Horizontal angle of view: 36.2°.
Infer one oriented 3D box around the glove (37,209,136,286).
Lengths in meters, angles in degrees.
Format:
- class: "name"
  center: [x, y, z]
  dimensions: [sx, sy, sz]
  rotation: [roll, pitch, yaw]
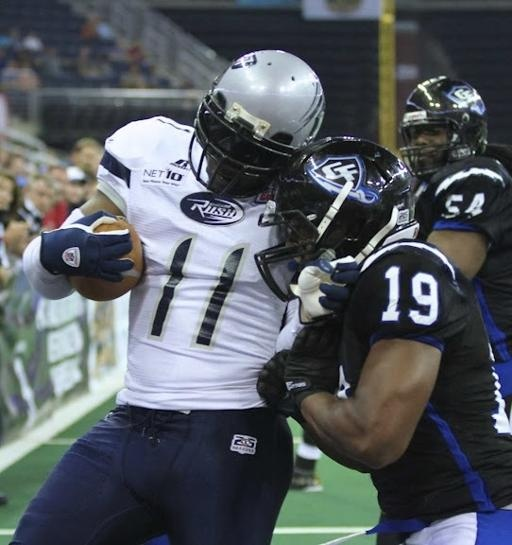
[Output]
- class: "glove"
  center: [-0.520, -0.070, 2.391]
  dimensions: [0.273, 0.194, 0.245]
  rotation: [-9, 58, -15]
